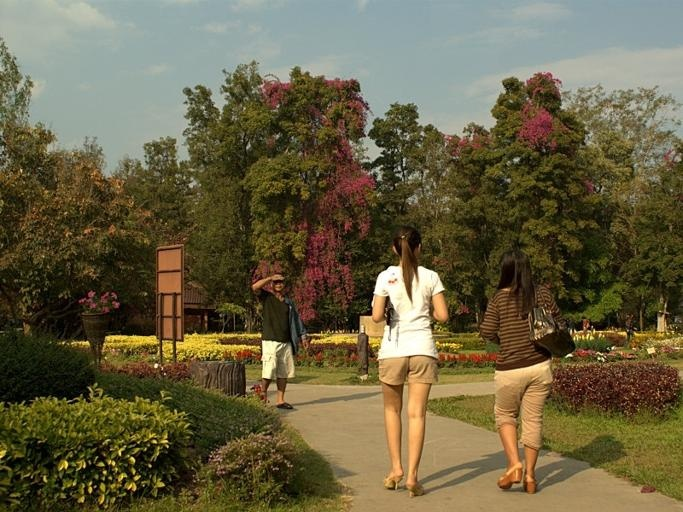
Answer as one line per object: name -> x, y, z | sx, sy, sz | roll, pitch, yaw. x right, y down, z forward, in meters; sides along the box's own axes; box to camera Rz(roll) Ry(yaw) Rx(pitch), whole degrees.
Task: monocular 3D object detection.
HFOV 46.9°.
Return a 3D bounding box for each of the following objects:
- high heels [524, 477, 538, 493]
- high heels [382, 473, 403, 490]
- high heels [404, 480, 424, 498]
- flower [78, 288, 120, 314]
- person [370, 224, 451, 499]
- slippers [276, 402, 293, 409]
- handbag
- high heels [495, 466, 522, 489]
high heels -> 2.535, 3.048, 10.545 | 0.230, 0.193, 0.198 | -1, -7, -8
high heels -> 0.706, 3.000, 10.554 | 0.153, 0.246, 0.265 | -1, 2, -37
high heels -> 0.958, 3.035, 10.340 | 0.107, 0.190, 0.339 | 2, 4, 25
flower -> -6.839, 1.203, 22.243 | 0.891, 0.680, 0.902 | -2, 4, -33
person -> 0.907, 1.363, 10.446 | 0.907, 3.531, 0.352 | -3, -5, 7
slippers -> -1.118, 2.923, 15.533 | 0.312, 0.141, 0.136 | 0, 0, 10
handbag -> 2.847, 0.806, 10.698 | 0.632, 0.724, 0.394 | 7, 16, 29
high heels -> 2.265, 2.941, 10.514 | 0.178, 0.215, 0.484 | 9, -35, -22
